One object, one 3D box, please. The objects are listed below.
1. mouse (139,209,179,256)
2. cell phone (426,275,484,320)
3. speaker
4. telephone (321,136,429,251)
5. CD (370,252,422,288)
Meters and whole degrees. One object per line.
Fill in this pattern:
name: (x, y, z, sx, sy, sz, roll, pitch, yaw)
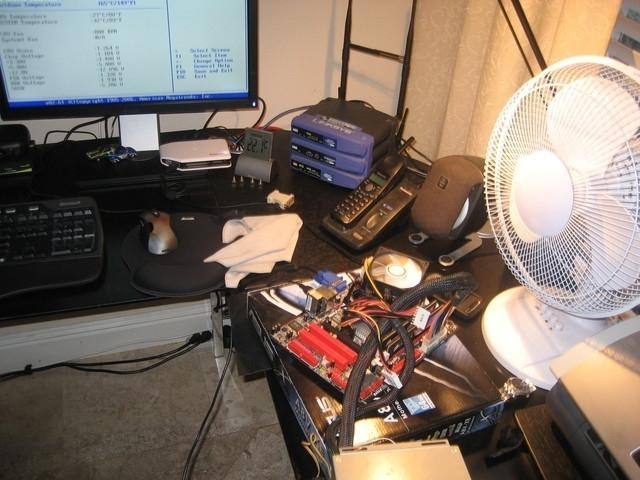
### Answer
mouse: (-0.373, -0.019, 1.156, 0.100, 0.089, 0.133, -6, 31, -22)
cell phone: (0.286, 0.124, 1.126, 0.076, 0.033, 0.156, -34, 56, -27)
speaker: (0.306, -0.123, 1.289, 0.228, 0.210, 0.169, -13, 36, -23)
telephone: (0.153, -0.086, 1.293, 0.171, 0.105, 0.340, 38, 64, 24)
CD: (0.163, 0.058, 1.112, 0.109, 0.063, 0.099, -11, 30, -24)
